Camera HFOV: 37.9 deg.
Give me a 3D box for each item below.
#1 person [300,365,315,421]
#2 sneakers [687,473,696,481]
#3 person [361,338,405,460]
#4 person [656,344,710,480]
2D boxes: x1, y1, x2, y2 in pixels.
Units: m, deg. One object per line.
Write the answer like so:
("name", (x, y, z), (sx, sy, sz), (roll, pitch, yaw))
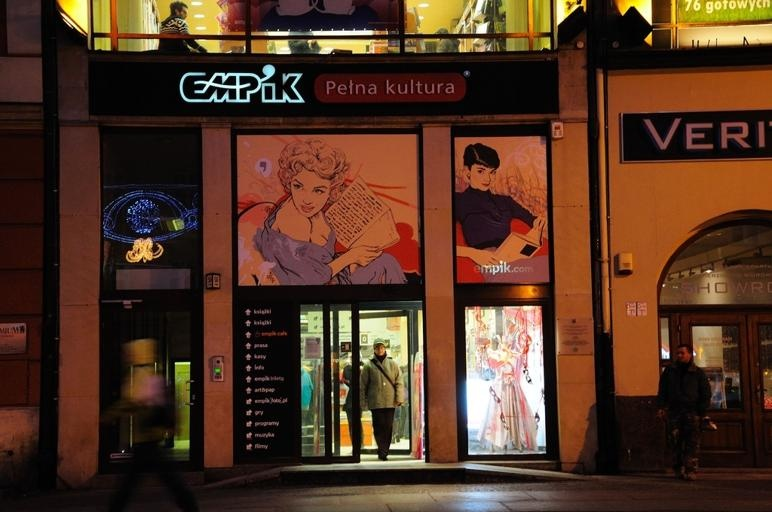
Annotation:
("person", (-1.441, 2.541, 20.577), (0.221, 1.040, 0.118), (0, -11, -4))
("sneakers", (5.303, 3.835, 19.573), (0.159, 0.142, 0.092), (-1, -11, 3))
("person", (-0.071, 2.679, 20.867), (0.779, 2.206, 0.371), (-1, -11, 0))
("person", (5.241, 2.732, 19.754), (0.897, 2.327, 0.449), (-4, -11, 16))
